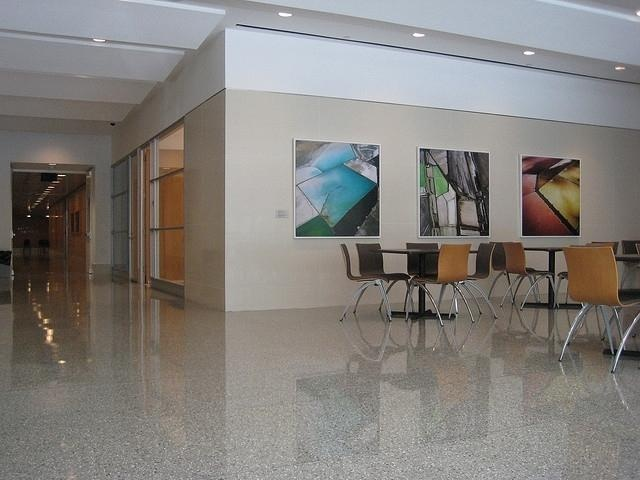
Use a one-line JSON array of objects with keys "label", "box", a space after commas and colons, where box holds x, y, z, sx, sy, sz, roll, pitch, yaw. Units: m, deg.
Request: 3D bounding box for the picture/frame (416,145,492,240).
[{"label": "picture/frame", "box": [2.344, -0.862, 8.018, 1.589, 1.701, 0.061, 2, -3, -23]}]

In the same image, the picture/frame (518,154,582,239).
[{"label": "picture/frame", "box": [4.458, -0.851, 8.762, 1.555, 1.820, 0.066, 1, -4, -20]}]
